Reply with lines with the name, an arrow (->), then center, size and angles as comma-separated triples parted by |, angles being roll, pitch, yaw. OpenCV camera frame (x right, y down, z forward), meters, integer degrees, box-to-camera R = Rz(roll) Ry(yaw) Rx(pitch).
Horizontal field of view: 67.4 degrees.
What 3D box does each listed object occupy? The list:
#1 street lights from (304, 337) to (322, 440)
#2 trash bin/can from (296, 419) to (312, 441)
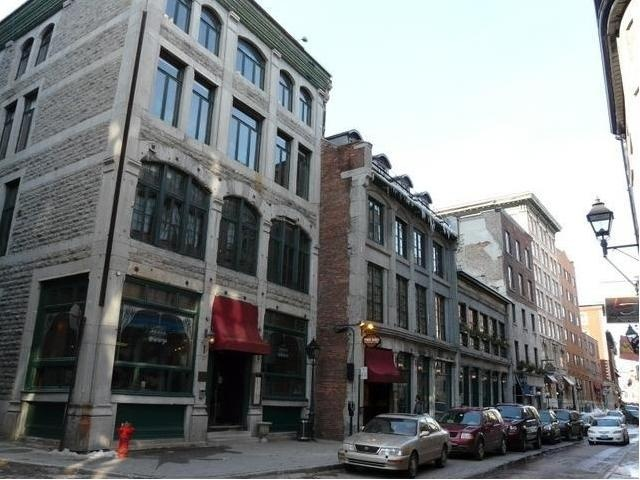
street lights -> -0.398, 7.247, 23.295 | 0.882, 4.714, 0.869 | 6, -10, -20
trash bin/can -> -0.637, 9.094, 23.011 | 0.848, 1.248, 0.824 | 10, -16, -31
